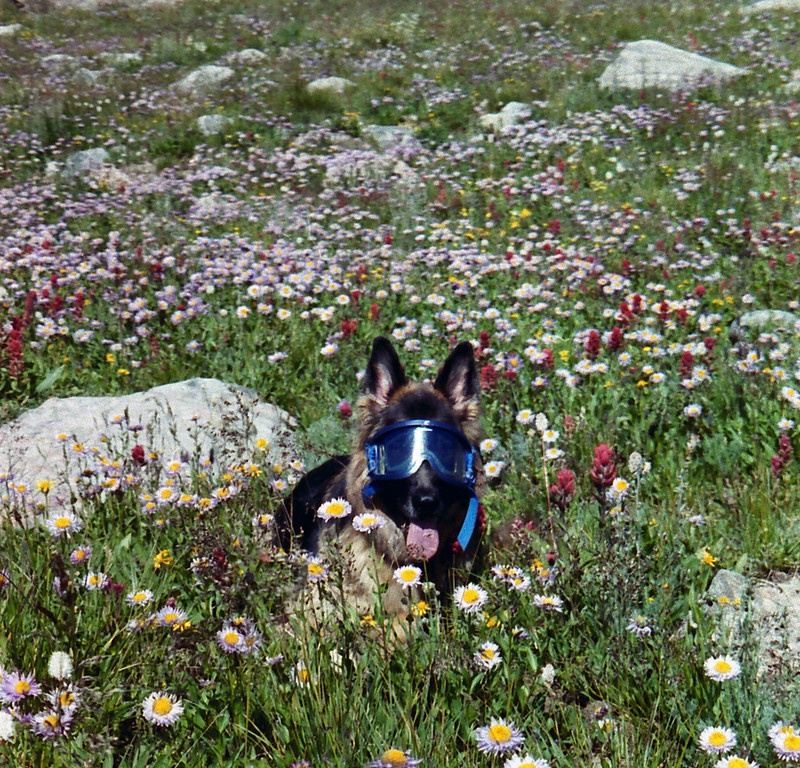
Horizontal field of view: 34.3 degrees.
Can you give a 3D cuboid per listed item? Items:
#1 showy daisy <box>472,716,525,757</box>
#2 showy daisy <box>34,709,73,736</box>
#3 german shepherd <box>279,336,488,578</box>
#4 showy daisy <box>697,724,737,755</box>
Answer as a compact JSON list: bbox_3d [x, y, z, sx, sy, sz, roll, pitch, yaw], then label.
[{"bbox_3d":[0.924,3.343,12.141,0.446,0.468,0.361,1,28,0],"label":"showy daisy"},{"bbox_3d":[-3.198,3.097,11.827,0.336,0.279,0.180,7,29,11],"label":"showy daisy"},{"bbox_3d":[-0.071,0.773,13.569,1.857,2.013,1.653,8,29,12],"label":"german shepherd"},{"bbox_3d":[2.977,3.340,12.134,0.330,0.226,0.269,10,31,15],"label":"showy daisy"}]
